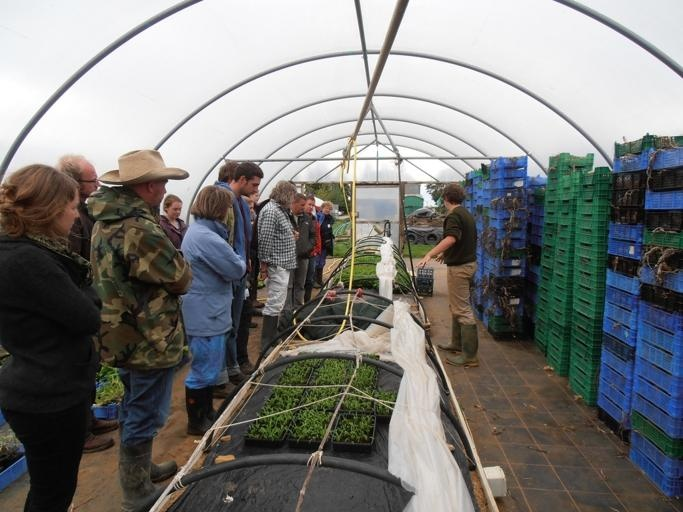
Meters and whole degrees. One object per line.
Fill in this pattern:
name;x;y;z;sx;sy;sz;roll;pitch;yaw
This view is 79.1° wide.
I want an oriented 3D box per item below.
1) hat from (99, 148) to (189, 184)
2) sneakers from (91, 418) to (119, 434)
hat;-1.352;-0.593;2.821;0.405;0.154;0.316;-6;7;-11
sneakers;-2.239;1.637;3.950;0.265;0.109;0.087;1;8;-28
